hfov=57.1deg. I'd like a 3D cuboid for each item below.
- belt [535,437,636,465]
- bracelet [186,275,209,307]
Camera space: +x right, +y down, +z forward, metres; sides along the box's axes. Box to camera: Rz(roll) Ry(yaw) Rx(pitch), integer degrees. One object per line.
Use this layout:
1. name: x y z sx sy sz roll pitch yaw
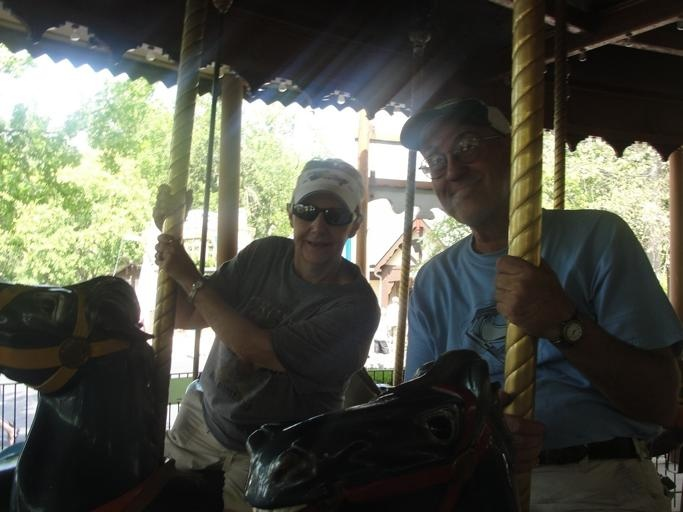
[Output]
1. belt: 0.926 0.728 2.342 0.366 0.114 0.021 2 -3 0
2. bracelet: -0.572 0.143 2.556 0.070 0.109 0.100 44 1 15
